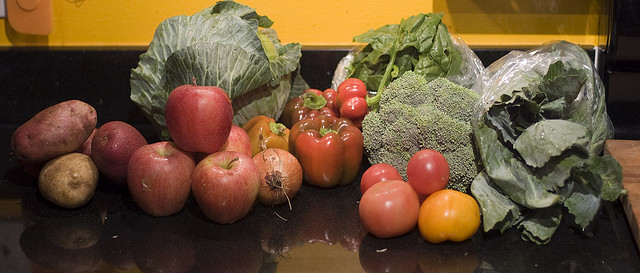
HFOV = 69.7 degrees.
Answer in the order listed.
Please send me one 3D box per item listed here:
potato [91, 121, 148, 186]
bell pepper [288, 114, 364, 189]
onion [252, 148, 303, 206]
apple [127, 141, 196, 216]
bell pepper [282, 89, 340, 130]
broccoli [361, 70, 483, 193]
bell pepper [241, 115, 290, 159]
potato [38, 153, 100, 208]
[{"bbox_3d":[-1.189,0.113,2.617,0.365,0.385,0.357,12,-10,-34],"label":"potato"},{"bbox_3d":[0.038,0.085,2.651,0.362,0.353,0.299,-12,26,-28],"label":"bell pepper"},{"bbox_3d":[-0.197,0.205,2.621,0.325,0.273,0.294,-2,16,-2],"label":"onion"},{"bbox_3d":[-0.844,0.227,2.463,0.337,0.356,0.200,-8,25,-21],"label":"apple"},{"bbox_3d":[-0.055,-0.175,2.802,0.393,0.325,0.206,1,-1,-19],"label":"bell pepper"},{"bbox_3d":[0.617,-0.012,2.756,0.720,0.632,0.316,7,-4,8],"label":"broccoli"},{"bbox_3d":[-0.302,-0.017,2.659,0.262,0.285,0.155,-2,2,-6],"label":"bell pepper"},{"bbox_3d":[-1.334,0.202,2.545,0.354,0.302,0.175,-4,-25,-5],"label":"potato"}]
